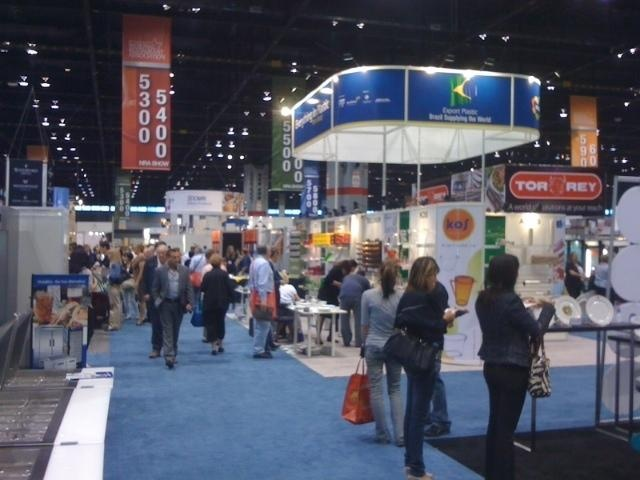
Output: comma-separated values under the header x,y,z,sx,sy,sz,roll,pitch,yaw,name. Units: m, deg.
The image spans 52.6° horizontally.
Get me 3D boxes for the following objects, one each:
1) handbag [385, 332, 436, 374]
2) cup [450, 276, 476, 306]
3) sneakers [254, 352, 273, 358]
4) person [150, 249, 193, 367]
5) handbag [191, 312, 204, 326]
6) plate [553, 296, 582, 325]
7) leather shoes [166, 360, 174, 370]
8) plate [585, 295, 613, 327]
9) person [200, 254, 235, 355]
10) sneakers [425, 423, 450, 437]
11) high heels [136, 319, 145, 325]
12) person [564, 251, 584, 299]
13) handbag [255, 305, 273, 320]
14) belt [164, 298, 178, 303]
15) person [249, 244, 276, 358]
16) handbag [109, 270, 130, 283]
x,y,z,sx,sy,sz,roll,pitch,yaw,name
0.815,0.980,5.702,0.306,0.322,0.141,24,-29,8,handbag
2.091,0.791,9.752,0.434,0.501,0.348,1,-9,-4,cup
-0.873,1.773,9.946,0.255,0.122,0.096,-1,0,-25,sneakers
-2.117,0.985,9.297,0.556,1.687,0.343,-1,3,-17,person
-2.002,1.291,10.559,0.188,0.391,0.366,0,-2,-14,handbag
2.693,0.759,6.998,0.344,0.392,0.095,4,-22,-6,plate
-2.144,1.780,9.222,0.089,0.128,0.107,-2,-8,-13,leather shoes
3.014,0.751,6.962,0.295,0.278,0.582,2,3,25,plate
-1.636,1.027,10.265,0.488,1.571,0.544,0,3,-10,person
1.230,1.972,6.731,0.249,0.121,0.107,3,-6,-17,sneakers
-3.643,1.657,13.074,0.092,0.161,0.157,3,-12,1,high heels
5.911,0.820,14.987,0.414,1.031,0.887,2,3,23,person
-0.858,1.081,9.707,0.179,0.172,0.072,8,9,-11,handbag
-2.134,0.871,9.234,0.184,0.053,0.021,-1,3,-17,belt
-0.890,0.968,10.014,0.408,1.723,0.722,0,3,-5,person
-3.847,0.699,12.386,0.195,0.242,0.644,1,3,7,handbag
